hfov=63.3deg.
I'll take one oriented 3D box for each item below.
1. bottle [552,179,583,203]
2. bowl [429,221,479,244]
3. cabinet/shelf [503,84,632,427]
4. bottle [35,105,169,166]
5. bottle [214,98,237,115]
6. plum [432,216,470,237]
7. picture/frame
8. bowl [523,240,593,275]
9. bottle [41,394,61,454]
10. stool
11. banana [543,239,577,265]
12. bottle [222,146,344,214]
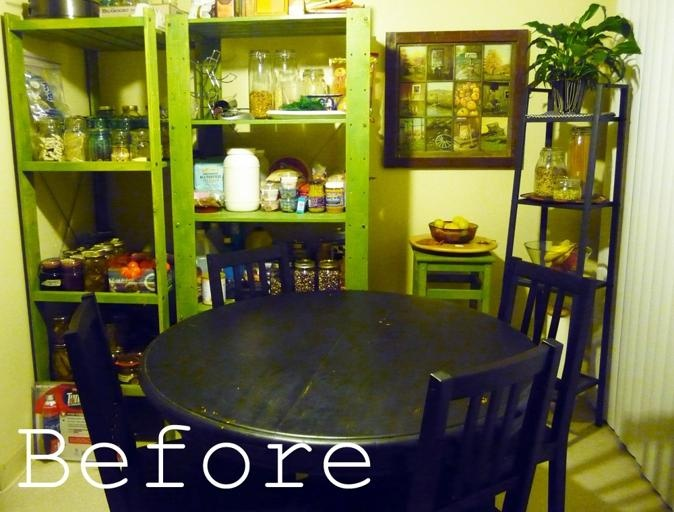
[{"bbox_3d":[1.180,-0.348,2.793,0.128,0.105,0.088,2,15,10],"label":"bottle"},{"bbox_3d":[0.643,-0.129,3.039,0.251,0.118,0.140,2,15,12],"label":"bowl"},{"bbox_3d":[1.238,-0.050,3.099,0.511,1.840,0.449,6,15,17],"label":"cabinet/shelf"},{"bbox_3d":[-1.159,-0.567,2.618,0.348,0.127,0.340,0,4,0],"label":"bottle"},{"bbox_3d":[-0.569,-0.769,2.865,0.118,0.084,0.161,-2,7,6],"label":"bottle"},{"bbox_3d":[0.631,-0.154,3.042,0.135,0.073,0.140,0,0,-7],"label":"plum"},{"bbox_3d":[0.711,-0.954,3.186,0.856,0.793,0.065,0,13,4],"label":"picture/frame"},{"bbox_3d":[1.099,0.000,2.956,0.218,0.090,0.210,14,5,-1],"label":"bowl"},{"bbox_3d":[-1.411,0.825,2.708,0.103,0.309,0.036,-5,15,-16],"label":"bottle"},{"bbox_3d":[0.649,0.101,3.115,0.415,0.416,0.414,1,7,-1],"label":"stool"},{"bbox_3d":[1.162,-0.024,2.858,0.146,0.049,0.139,-3,26,40],"label":"banana"},{"bbox_3d":[-0.270,-0.401,2.943,0.660,0.342,0.202,-2,3,-22],"label":"bottle"}]
